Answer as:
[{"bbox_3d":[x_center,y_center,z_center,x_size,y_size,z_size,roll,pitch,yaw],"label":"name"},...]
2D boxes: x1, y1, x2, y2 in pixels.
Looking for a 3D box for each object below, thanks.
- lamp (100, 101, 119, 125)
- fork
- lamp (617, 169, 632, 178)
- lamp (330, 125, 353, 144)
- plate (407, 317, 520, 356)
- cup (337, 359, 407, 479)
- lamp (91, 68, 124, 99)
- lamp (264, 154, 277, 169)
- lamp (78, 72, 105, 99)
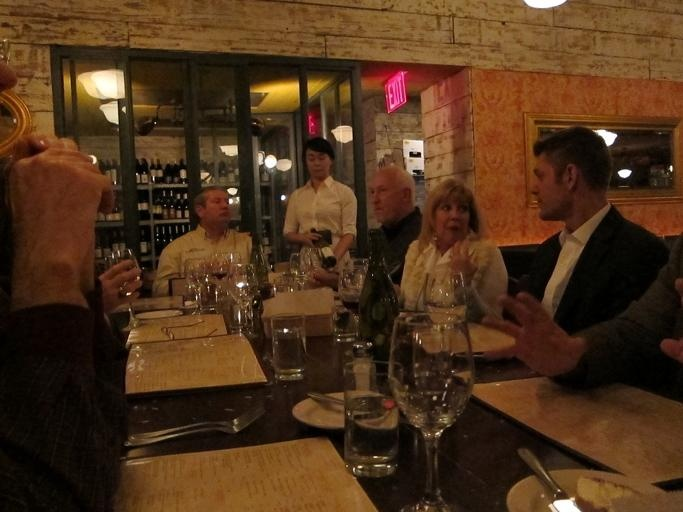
[{"bbox_3d":[-1.846,-1.152,4.898,0.152,0.168,0.162,-7,10,-40],"label":"lamp"},{"bbox_3d":[-0.321,0.376,1.346,0.393,0.059,0.066,-3,18,-9],"label":"fork"},{"bbox_3d":[3.028,-0.888,6.556,0.107,0.105,0.026,-4,7,-8],"label":"lamp"},{"bbox_3d":[0.009,-1.101,5.545,0.180,0.113,0.176,-1,-1,-30],"label":"lamp"},{"bbox_3d":[0.255,0.169,1.274,0.144,0.034,0.136,-1,1,-3],"label":"plate"},{"bbox_3d":[0.060,0.322,1.240,0.113,0.164,0.208,-2,12,2],"label":"cup"},{"bbox_3d":[-1.849,-1.385,4.902,0.226,0.241,0.084,-8,11,1],"label":"lamp"},{"bbox_3d":[-0.798,-1.056,6.828,0.046,0.194,0.192,-10,11,-43],"label":"lamp"},{"bbox_3d":[-2.002,-1.371,4.884,0.160,0.105,0.202,0,37,-27],"label":"lamp"}]
